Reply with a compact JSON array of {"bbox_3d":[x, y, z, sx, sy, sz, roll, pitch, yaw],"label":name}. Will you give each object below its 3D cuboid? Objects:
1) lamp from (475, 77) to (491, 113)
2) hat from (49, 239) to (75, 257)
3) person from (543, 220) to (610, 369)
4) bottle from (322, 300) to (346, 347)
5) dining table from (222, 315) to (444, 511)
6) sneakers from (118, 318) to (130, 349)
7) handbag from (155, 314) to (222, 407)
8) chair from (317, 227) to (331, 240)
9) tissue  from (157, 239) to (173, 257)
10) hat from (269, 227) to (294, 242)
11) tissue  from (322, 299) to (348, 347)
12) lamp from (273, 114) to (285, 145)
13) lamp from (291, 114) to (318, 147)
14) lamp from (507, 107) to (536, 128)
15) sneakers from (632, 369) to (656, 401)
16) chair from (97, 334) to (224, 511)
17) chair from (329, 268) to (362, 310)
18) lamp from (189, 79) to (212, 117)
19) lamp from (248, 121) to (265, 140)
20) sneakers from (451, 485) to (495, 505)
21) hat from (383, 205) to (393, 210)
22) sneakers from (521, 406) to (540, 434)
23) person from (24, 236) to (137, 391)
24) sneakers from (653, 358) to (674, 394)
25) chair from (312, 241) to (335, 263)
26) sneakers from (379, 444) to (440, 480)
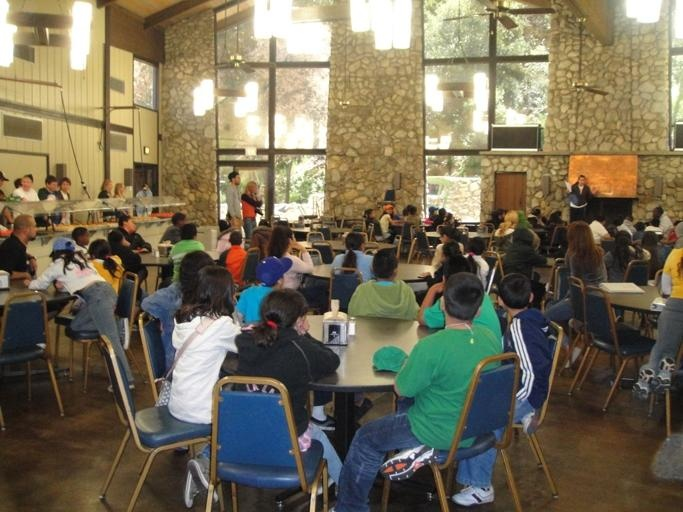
[{"bbox_3d":[2.720,-3.234,10.879,0.226,0.625,0.668,4,6,20],"label":"lamp"},{"bbox_3d":[-2.394,-0.085,4.878,0.189,0.161,0.285,0,7,3],"label":"hat"},{"bbox_3d":[2.501,0.405,5.900,0.449,1.467,0.749,-4,0,-12],"label":"person"},{"bbox_3d":[-0.023,0.435,3.485,0.150,0.285,0.261,0,-2,3],"label":"bottle"},{"bbox_3d":[0.103,0.844,3.341,0.800,0.569,0.807,5,15,16],"label":"dining table"},{"bbox_3d":[-1.913,0.675,4.974,0.089,0.278,0.109,-13,22,-30],"label":"sneakers"},{"bbox_3d":[-0.936,0.613,3.194,0.188,0.560,0.416,22,8,-7],"label":"handbag"},{"bbox_3d":[-0.313,-0.444,10.784,0.246,0.421,0.224,2,0,-22],"label":"chair"},{"bbox_3d":[-2.341,-0.101,7.414,0.204,0.213,0.212,5,24,15],"label":"tissue "},{"bbox_3d":[-0.573,-0.215,5.492,0.130,0.191,0.184,2,7,9],"label":"hat"},{"bbox_3d":[-0.029,0.429,3.457,0.152,0.275,0.263,1,6,3],"label":"tissue "},{"bbox_3d":[-1.712,-3.545,15.605,0.389,0.757,0.189,4,1,1],"label":"lamp"},{"bbox_3d":[-1.021,-3.505,15.700,0.604,0.855,0.200,-5,6,5],"label":"lamp"},{"bbox_3d":[4.810,-3.694,14.949,0.568,0.314,0.834,2,4,11],"label":"lamp"},{"bbox_3d":[2.287,0.975,4.194,0.074,0.235,0.136,10,14,-36],"label":"sneakers"},{"bbox_3d":[-1.129,0.947,3.294,0.554,1.077,0.861,-1,6,-25],"label":"chair"},{"bbox_3d":[0.039,0.316,5.539,0.302,0.592,0.359,2,9,4],"label":"chair"},{"bbox_3d":[-2.558,-3.002,10.384,0.354,0.741,0.929,0,6,-16],"label":"lamp"},{"bbox_3d":[-2.419,-3.467,15.440,0.085,0.387,0.377,12,21,20],"label":"lamp"},{"bbox_3d":[0.789,1.427,3.365,0.279,0.141,0.103,1,0,-9],"label":"sneakers"},{"bbox_3d":[1.191,-1.229,13.981,0.156,0.128,0.201,3,11,24],"label":"hat"},{"bbox_3d":[1.143,0.982,3.355,0.087,0.155,0.055,6,-1,-14],"label":"sneakers"},{"bbox_3d":[-2.256,0.530,4.948,0.912,1.515,0.512,-6,6,26],"label":"person"},{"bbox_3d":[2.368,0.873,4.089,0.129,0.243,0.093,16,1,34],"label":"sneakers"},{"bbox_3d":[-0.228,-0.062,7.781,0.247,0.495,0.302,3,9,20],"label":"chair"},{"bbox_3d":[0.353,1.080,2.903,0.334,0.137,0.167,-18,12,5],"label":"sneakers"}]
